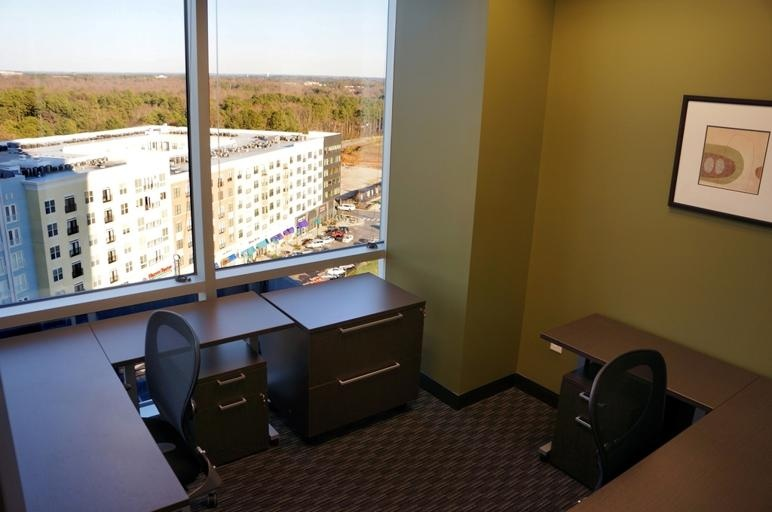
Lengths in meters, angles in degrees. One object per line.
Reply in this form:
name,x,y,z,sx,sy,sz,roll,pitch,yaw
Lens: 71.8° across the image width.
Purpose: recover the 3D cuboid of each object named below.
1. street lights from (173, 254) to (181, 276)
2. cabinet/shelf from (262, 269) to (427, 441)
street lights,-1.507,0.063,3.879,0.028,0.155,0.063,16,28,37
cabinet/shelf,-0.333,0.605,4.206,1.252,1.184,1.030,-13,26,-34
